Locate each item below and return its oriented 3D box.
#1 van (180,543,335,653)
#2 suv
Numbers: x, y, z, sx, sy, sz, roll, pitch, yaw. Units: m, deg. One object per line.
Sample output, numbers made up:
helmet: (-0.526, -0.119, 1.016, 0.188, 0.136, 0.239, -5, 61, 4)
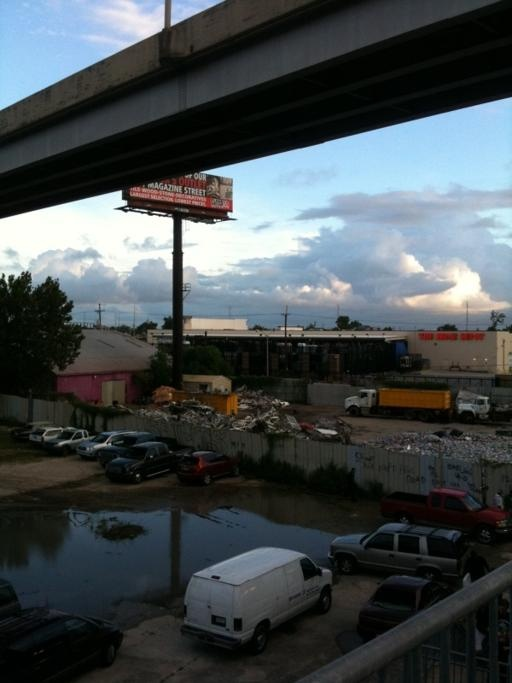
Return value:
van: (0.031, 4.645, 13.000, 1.339, 1.051, 2.739, 2, 8, 38)
suv: (3.468, 5.038, 16.417, 2.790, 1.081, 1.371, 4, 1, 30)
